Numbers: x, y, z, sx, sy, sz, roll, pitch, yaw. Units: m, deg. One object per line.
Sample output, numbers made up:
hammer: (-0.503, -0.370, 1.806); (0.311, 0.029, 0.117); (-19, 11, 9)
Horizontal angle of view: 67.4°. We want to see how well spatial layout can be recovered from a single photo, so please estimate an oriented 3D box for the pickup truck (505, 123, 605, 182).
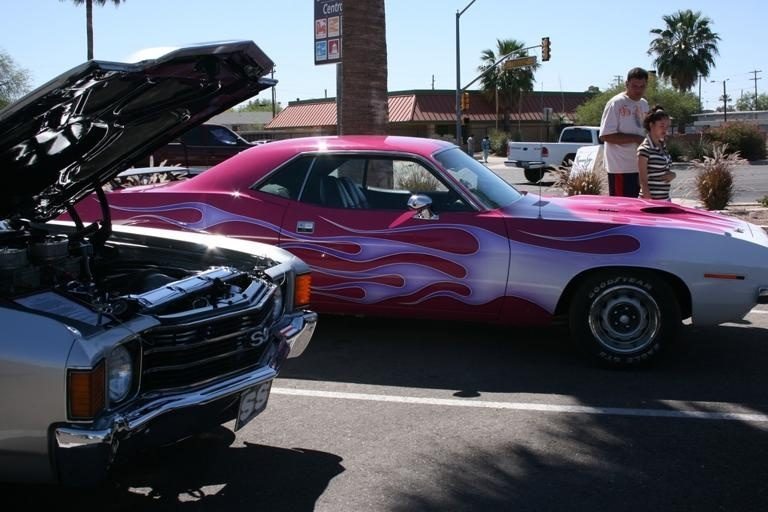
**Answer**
pickup truck: (9.319, -5.036, 26.732); (6.366, 1.591, 2.496); (-13, 21, -22)
